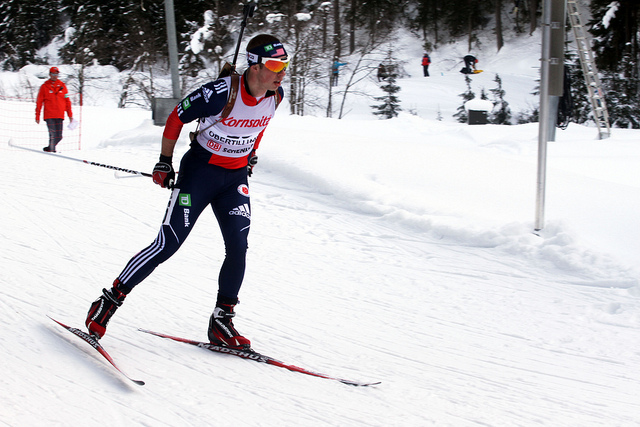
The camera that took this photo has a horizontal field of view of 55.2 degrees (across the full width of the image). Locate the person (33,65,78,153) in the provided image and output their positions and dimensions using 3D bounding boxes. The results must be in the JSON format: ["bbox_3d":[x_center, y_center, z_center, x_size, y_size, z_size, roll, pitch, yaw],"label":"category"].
[{"bbox_3d":[-4.632,-1.823,10.732,0.617,1.450,0.924,0,13,-23],"label":"person"}]

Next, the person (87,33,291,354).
[{"bbox_3d":[-0.994,-0.165,4.924,1.307,2.565,0.503,2,14,-16],"label":"person"}]

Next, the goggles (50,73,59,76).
[{"bbox_3d":[-4.575,-2.399,10.567,0.041,0.040,0.108,11,12,30],"label":"goggles"}]
